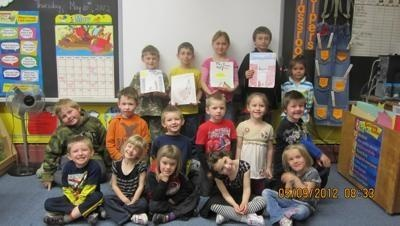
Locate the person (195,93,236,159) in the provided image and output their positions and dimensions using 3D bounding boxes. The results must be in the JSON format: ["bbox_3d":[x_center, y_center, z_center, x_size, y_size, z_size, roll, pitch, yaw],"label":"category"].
[{"bbox_3d":[0.205,0.165,4.589,0.567,0.821,0.291,-4,14,-10],"label":"person"}]

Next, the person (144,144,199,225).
[{"bbox_3d":[-0.331,0.860,4.240,0.636,0.903,0.348,-2,14,-2],"label":"person"}]

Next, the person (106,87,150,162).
[{"bbox_3d":[-0.980,0.195,4.770,0.602,0.980,0.556,-3,7,-27],"label":"person"}]

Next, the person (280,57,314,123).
[{"bbox_3d":[1.429,-0.143,5.165,0.524,1.280,0.380,1,3,13],"label":"person"}]

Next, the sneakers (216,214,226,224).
[{"bbox_3d":[0.238,1.279,4.209,0.130,0.121,0.077,-1,6,-8],"label":"sneakers"}]

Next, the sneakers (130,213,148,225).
[{"bbox_3d":[-0.732,1.265,4.172,0.183,0.105,0.070,3,-6,13],"label":"sneakers"}]

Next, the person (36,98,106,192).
[{"bbox_3d":[-1.770,0.445,4.825,1.110,1.240,0.700,-6,20,-8],"label":"person"}]

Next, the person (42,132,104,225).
[{"bbox_3d":[-1.504,0.804,4.506,0.943,1.226,0.968,3,8,-6],"label":"person"}]
